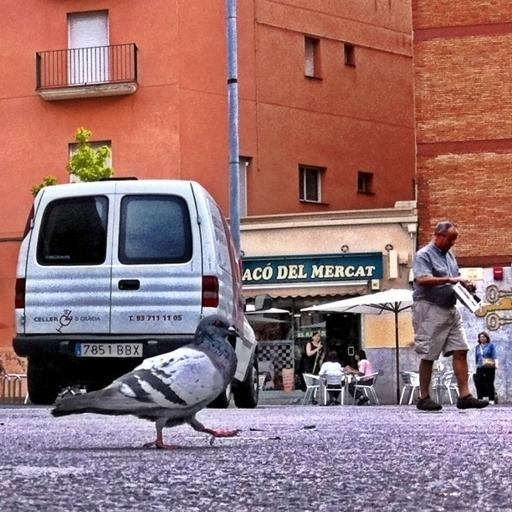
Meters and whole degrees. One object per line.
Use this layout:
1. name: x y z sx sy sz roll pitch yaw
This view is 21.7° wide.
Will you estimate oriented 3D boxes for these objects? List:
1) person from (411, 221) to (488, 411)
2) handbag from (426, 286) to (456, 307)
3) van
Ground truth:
1. person: 1.568 0.497 11.006 0.558 1.581 0.791 -3 -4 9
2. handbag: 1.525 0.324 10.929 0.184 0.180 0.178 0 3 -37
3. van: -1.009 0.183 11.652 1.216 1.256 2.363 -1 -2 5
